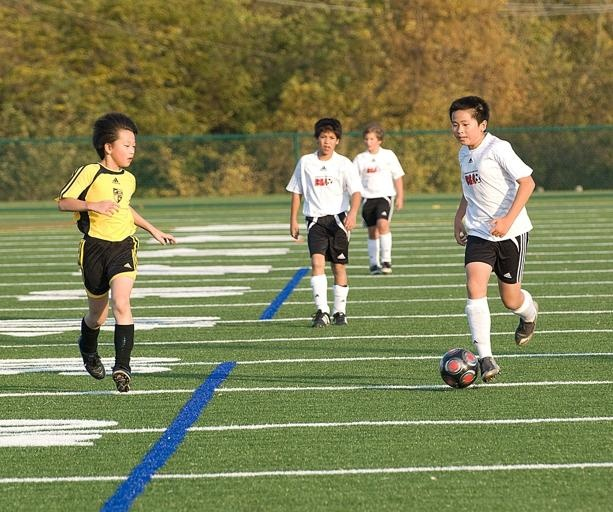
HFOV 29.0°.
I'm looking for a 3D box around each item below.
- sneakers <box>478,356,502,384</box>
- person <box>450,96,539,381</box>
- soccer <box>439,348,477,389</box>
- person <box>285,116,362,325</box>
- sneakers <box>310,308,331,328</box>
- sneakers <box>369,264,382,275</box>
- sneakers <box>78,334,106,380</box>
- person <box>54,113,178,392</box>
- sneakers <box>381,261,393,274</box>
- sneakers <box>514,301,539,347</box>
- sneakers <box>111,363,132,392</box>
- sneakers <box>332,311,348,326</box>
[{"bbox_3d":[1.650,1.008,10.637,0.130,0.132,0.273,-33,-4,8],"label":"sneakers"},{"bbox_3d":[1.708,-0.190,10.781,0.726,2.514,1.081,-1,11,10],"label":"person"},{"bbox_3d":[1.381,1.002,10.603,0.356,0.374,0.246,-3,11,-3],"label":"soccer"},{"bbox_3d":[0.229,-0.392,13.194,0.825,2.274,0.831,3,13,27],"label":"person"},{"bbox_3d":[0.211,0.683,13.106,0.306,0.182,0.157,-12,14,-42],"label":"sneakers"},{"bbox_3d":[1.001,0.191,16.862,0.140,0.138,0.326,1,5,5],"label":"sneakers"},{"bbox_3d":[-1.951,0.961,10.915,0.171,0.461,0.190,-29,17,-24],"label":"sneakers"},{"bbox_3d":[-1.723,-0.011,10.563,0.809,2.496,0.919,-4,11,-7],"label":"person"},{"bbox_3d":[1.166,0.175,16.891,0.131,0.144,0.165,1,-4,-4],"label":"sneakers"},{"bbox_3d":[2.159,0.670,11.595,0.196,0.443,0.162,14,5,-40],"label":"sneakers"},{"bbox_3d":[-1.588,1.093,10.393,0.135,0.280,0.127,-2,45,0],"label":"sneakers"},{"bbox_3d":[0.389,0.698,13.185,0.156,0.092,0.240,1,5,-3],"label":"sneakers"}]
